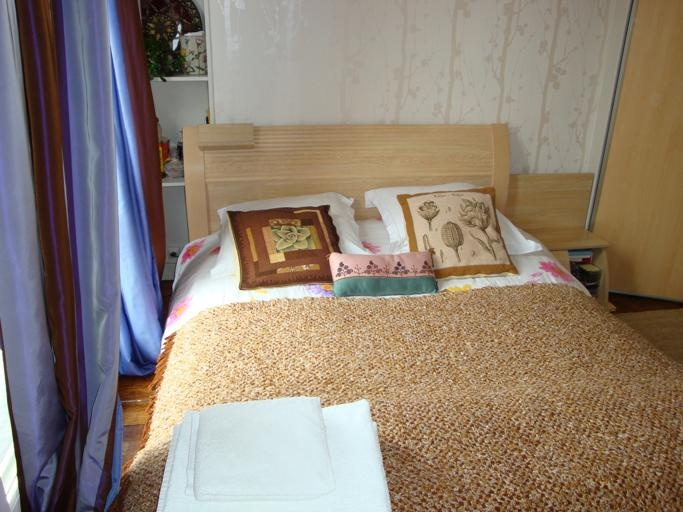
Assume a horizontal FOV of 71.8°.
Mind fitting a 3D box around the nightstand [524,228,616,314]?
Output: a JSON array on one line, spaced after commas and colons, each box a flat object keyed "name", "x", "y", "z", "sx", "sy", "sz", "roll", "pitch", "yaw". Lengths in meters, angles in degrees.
[{"name": "nightstand", "x": 1.534, "y": 0.020, "z": 3.285, "sx": 0.583, "sy": 0.436, "sz": 0.579, "roll": 0, "pitch": 20, "yaw": 0}]
